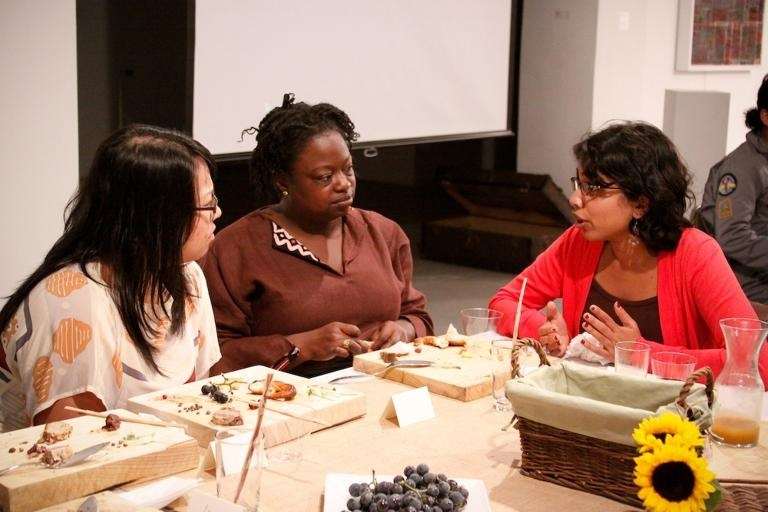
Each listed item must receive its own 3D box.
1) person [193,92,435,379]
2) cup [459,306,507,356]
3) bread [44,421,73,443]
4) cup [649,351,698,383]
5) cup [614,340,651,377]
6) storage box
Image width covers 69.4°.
[{"bbox_3d":[-0.267,-0.087,2.472,1.106,1.231,0.795,-7,15,-31],"label":"person"},{"bbox_3d":[0.362,0.274,2.083,0.157,0.170,0.162,-1,5,0],"label":"cup"},{"bbox_3d":[-0.799,0.427,1.354,0.062,0.027,0.055,9,13,28],"label":"bread"},{"bbox_3d":[0.863,0.314,1.643,0.118,0.058,0.111,2,7,0],"label":"cup"},{"bbox_3d":[0.744,0.306,1.690,0.097,0.104,0.102,-1,1,0],"label":"cup"},{"bbox_3d":[1.070,-0.455,5.035,1.174,0.865,0.950,6,16,24],"label":"storage box"}]
